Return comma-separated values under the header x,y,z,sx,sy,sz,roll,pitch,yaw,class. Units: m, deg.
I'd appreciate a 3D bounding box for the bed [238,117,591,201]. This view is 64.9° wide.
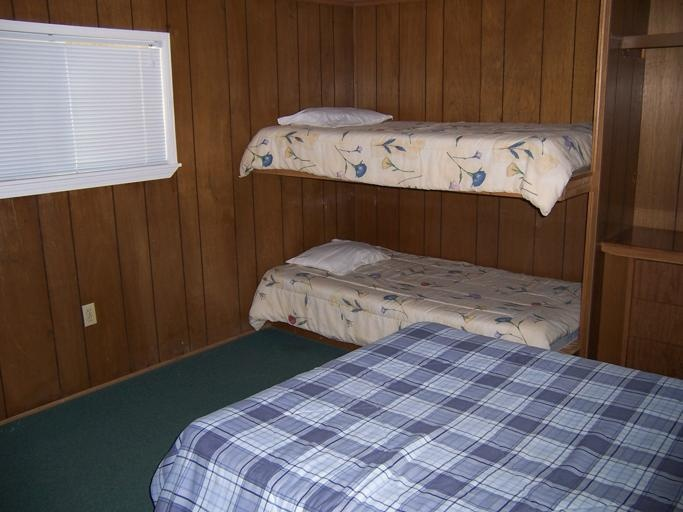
x,y,z,sx,sy,sz,roll,pitch,yaw,class
0.386,-0.581,3.251,1.412,0.294,0.852,10,23,31,bed

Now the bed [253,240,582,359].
x,y,z,sx,sy,sz,roll,pitch,yaw,class
0.440,0.245,3.387,1.434,0.419,0.905,11,27,28,bed
